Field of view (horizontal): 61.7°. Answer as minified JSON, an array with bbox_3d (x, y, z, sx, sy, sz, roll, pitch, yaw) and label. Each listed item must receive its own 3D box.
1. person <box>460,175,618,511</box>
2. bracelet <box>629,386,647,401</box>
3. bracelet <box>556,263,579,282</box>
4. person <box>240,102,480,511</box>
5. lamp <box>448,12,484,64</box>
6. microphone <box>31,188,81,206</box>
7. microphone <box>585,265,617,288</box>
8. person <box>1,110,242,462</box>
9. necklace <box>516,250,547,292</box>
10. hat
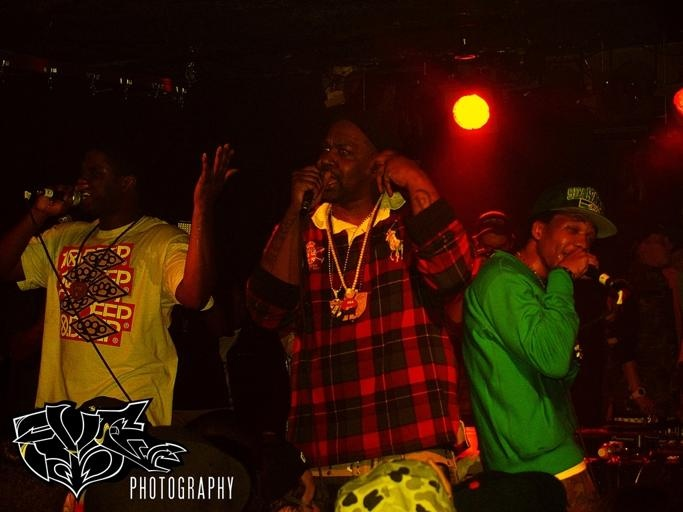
[{"bbox_3d":[1.046,0.437,3.026,0.776,1.702,0.520,-2,-14,7],"label":"person"},{"bbox_3d":[2.679,1.220,5.221,0.134,0.099,0.150,-19,-13,5],"label":"bracelet"},{"bbox_3d":[1.197,0.078,3.021,0.030,0.081,0.074,-47,-51,10],"label":"bracelet"},{"bbox_3d":[0.135,0.231,3.332,1.260,2.369,0.444,-5,-15,15],"label":"person"},{"bbox_3d":[0.966,-1.711,4.435,0.072,0.239,0.245,-8,1,-12],"label":"lamp"},{"bbox_3d":[-1.806,-0.390,3.555,0.346,0.132,0.132,3,0,-18],"label":"microphone"},{"bbox_3d":[1.902,0.137,4.198,0.078,0.089,0.338,15,13,-10],"label":"microphone"},{"bbox_3d":[-1.379,-0.035,3.555,1.554,2.077,0.506,-5,-15,17],"label":"person"},{"bbox_3d":[1.059,0.070,3.178,0.056,0.202,0.162,-48,-29,4],"label":"necklace"},{"bbox_3d":[1.302,-0.274,3.222,0.378,0.199,0.299,7,-11,46],"label":"hat"}]
